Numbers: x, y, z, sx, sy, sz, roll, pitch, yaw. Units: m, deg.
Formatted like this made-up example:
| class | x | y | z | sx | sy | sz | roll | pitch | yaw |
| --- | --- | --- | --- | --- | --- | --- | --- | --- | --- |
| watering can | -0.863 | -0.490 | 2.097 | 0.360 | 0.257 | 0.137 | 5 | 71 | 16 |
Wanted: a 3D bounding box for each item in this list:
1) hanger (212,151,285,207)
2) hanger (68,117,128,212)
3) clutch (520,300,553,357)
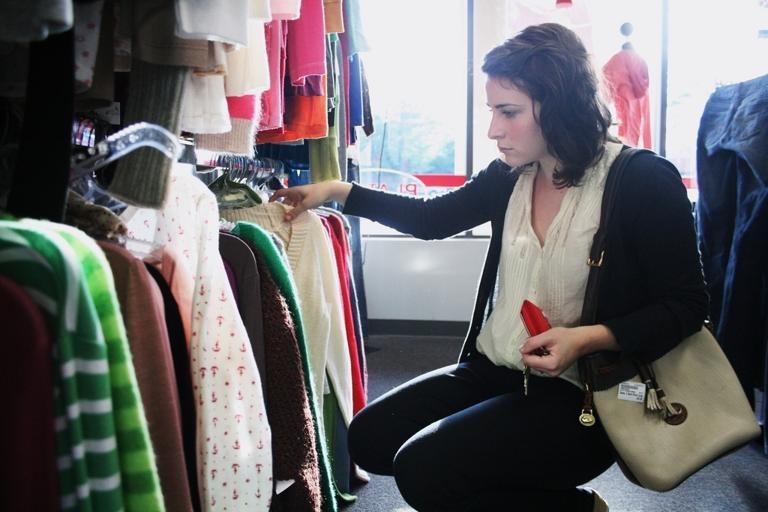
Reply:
| class | x | y | z | sx | sy | sz | roll | pitch | yaw |
| --- | --- | --- | --- | --- | --- | --- | --- | --- | --- |
| hanger | -0.485 | -0.268 | 2.112 | 0.279 | 0.113 | 0.193 | -2 | 10 | -32 |
| hanger | -0.796 | -0.235 | 1.615 | 0.092 | 0.246 | 0.186 | 10 | 30 | -21 |
| clutch | 0.386 | 0.185 | 1.520 | 0.065 | 0.143 | 0.033 | 0 | -29 | -28 |
